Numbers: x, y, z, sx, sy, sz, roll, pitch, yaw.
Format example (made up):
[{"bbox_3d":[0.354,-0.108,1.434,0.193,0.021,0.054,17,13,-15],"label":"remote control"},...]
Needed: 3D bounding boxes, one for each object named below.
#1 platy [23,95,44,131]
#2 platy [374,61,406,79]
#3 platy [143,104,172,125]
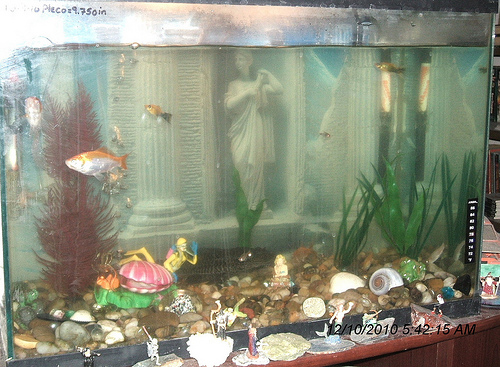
[{"bbox_3d":[-0.771,-0.254,1.868,0.062,0.108,0.025,-12,11,-17],"label":"platy"},{"bbox_3d":[0.554,-0.455,2.135,0.166,0.074,0.043,7,13,-4],"label":"platy"},{"bbox_3d":[-0.342,-0.261,1.957,0.112,0.045,0.039,27,4,-22],"label":"platy"}]
